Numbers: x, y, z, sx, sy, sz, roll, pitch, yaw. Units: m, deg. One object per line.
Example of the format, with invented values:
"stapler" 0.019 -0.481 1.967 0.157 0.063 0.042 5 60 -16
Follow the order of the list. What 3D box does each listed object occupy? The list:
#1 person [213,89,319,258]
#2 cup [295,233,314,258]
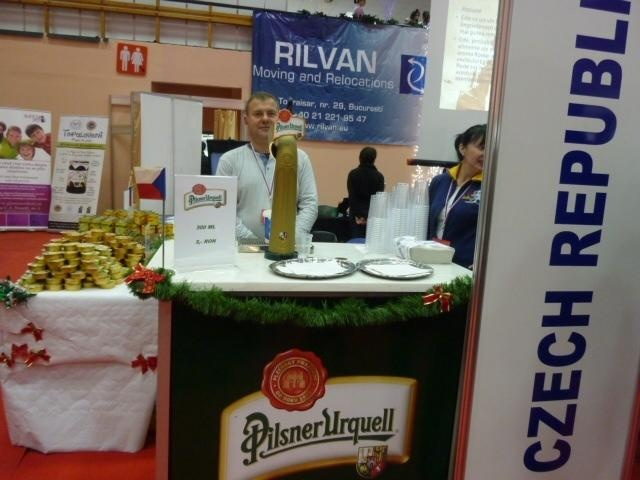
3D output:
"person" -0.288 -0.429 3.094 0.603 0.889 1.104 0 7 -11
"cup" -0.065 0.025 2.421 0.083 0.097 0.086 -1 10 0
